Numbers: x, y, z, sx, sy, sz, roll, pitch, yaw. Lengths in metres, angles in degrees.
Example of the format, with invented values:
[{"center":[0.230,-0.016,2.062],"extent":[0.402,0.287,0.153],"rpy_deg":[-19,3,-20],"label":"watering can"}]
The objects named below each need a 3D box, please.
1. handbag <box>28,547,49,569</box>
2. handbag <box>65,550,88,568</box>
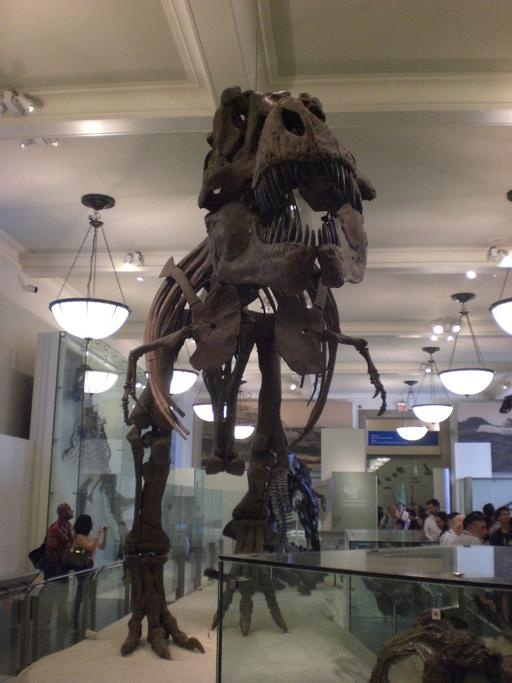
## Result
[{"center":[-1.914,1.913,5.257],"extent":[0.177,0.086,0.218],"rpy_deg":[0,-3,-11],"label":"handbag"},{"center":[-1.589,1.923,5.258],"extent":[0.174,0.155,0.069],"rpy_deg":[2,-19,-17],"label":"handbag"}]
